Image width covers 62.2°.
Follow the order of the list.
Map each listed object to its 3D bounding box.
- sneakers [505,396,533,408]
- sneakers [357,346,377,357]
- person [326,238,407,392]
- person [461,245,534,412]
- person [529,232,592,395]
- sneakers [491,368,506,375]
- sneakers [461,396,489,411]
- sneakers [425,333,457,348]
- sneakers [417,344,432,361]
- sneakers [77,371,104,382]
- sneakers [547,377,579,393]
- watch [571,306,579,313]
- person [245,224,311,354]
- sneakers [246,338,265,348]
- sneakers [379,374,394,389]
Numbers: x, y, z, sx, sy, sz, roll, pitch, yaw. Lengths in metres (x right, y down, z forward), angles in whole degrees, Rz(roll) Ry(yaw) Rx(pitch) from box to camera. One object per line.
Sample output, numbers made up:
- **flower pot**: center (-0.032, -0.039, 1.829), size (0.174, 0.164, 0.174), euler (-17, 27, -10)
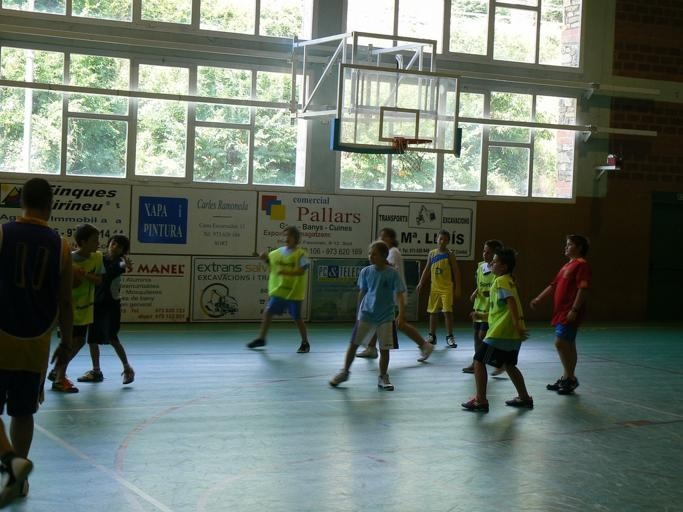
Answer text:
- **sneakers**: center (2.033, 1.661, 6.524), size (0.298, 0.142, 0.122), euler (4, -1, 10)
- **sneakers**: center (0.410, 1.504, 9.004), size (0.343, 0.154, 0.139), euler (3, 1, 6)
- **person**: center (0.347, 0.724, 7.051), size (0.837, 1.829, 0.593), euler (2, 4, 3)
- **person**: center (1.811, 0.809, 6.393), size (0.744, 1.788, 0.828), euler (3, 4, 20)
- **person**: center (2.830, 0.736, 7.072), size (0.414, 1.975, 0.540), euler (3, 4, 23)
- **sneakers**: center (2.239, 1.641, 8.065), size (0.097, 0.127, 0.298), euler (-11, -16, 22)
- **sneakers**: center (1.483, 1.643, 6.362), size (0.320, 0.172, 0.119), euler (2, 1, 17)
- **sneakers**: center (1.816, 1.508, 10.063), size (0.220, 0.302, 0.691), euler (-2, -14, 29)
- **sneakers**: center (1.322, 1.452, 8.937), size (0.221, 0.299, 0.439), euler (2, 4, 8)
- **sneakers**: center (-3.043, 1.438, 6.880), size (0.333, 0.147, 0.123), euler (3, 2, -11)
- **sneakers**: center (2.812, 1.624, 7.202), size (0.445, 0.207, 0.171), euler (-1, 13, 17)
- **watch**: center (2.802, 0.635, 6.824), size (0.074, 0.046, 0.077), euler (-14, -8, 19)
- **person**: center (-0.960, 0.519, 9.111), size (0.891, 1.994, 0.813), euler (2, 4, 12)
- **sneakers**: center (-1.436, 1.403, 9.212), size (0.357, 0.156, 0.138), euler (-1, 43, 13)
- **sneakers**: center (0.549, 1.560, 7.084), size (0.097, 0.126, 0.287), euler (-1, -5, -14)
